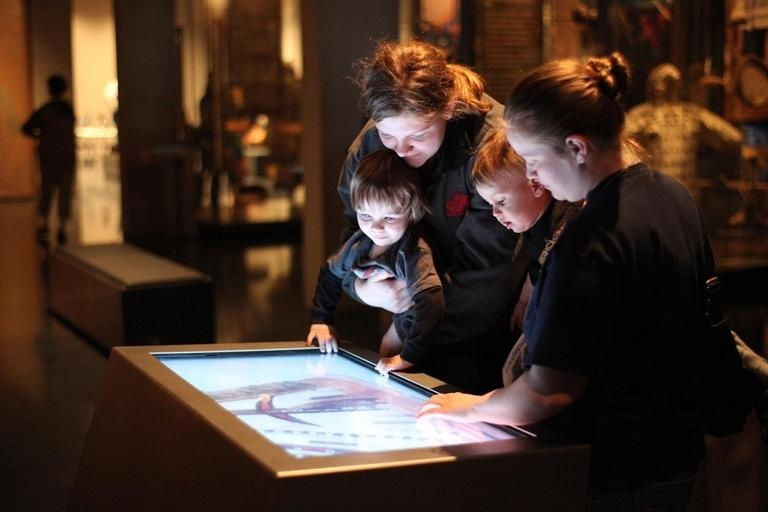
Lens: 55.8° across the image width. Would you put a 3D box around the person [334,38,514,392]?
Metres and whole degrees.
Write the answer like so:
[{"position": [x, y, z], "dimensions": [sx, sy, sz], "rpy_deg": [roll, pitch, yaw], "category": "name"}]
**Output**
[{"position": [0.003, 0.007, 2.602], "dimensions": [0.559, 0.766, 0.440], "rpy_deg": [22, 35, 37], "category": "person"}]
